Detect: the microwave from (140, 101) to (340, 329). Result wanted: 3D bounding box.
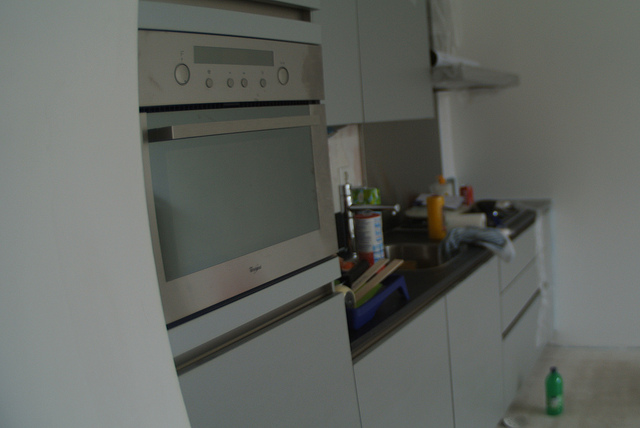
[{"bbox_3d":[-0.169,-0.028,0.780,0.207,0.262,0.381,2,12,34],"label":"microwave"}]

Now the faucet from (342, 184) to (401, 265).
[{"bbox_3d":[0.129,0.038,1.373,0.188,0.282,0.119,0,31,16],"label":"faucet"}]
